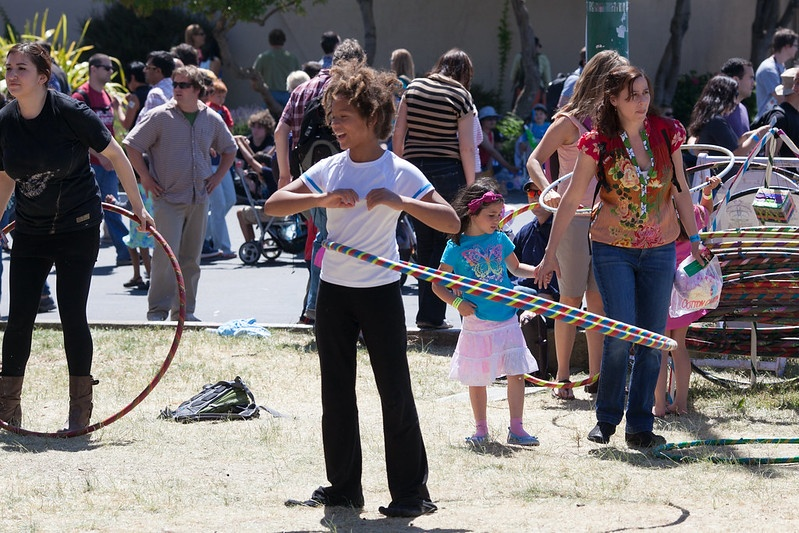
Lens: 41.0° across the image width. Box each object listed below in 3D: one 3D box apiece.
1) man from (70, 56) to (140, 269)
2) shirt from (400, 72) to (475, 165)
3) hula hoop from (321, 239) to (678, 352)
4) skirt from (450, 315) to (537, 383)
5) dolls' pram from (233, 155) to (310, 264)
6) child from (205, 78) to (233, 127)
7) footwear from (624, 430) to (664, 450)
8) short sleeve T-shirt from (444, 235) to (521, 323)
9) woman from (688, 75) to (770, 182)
[{"bbox_3d":[-3.571,-0.975,12.972,0.516,1.646,0.506,-5,-36,-28],"label":"man"},{"bbox_3d":[0.415,-1.340,10.002,0.887,0.833,0.487,13,8,41],"label":"shirt"},{"bbox_3d":[0.832,0.199,7.896,2.635,0.099,0.286,17,11,2],"label":"hula hoop"},{"bbox_3d":[0.683,0.535,8.210,0.663,0.627,0.480,-6,14,0],"label":"skirt"},{"bbox_3d":[-1.596,-0.708,14.150,1.044,1.324,0.867,1,0,5],"label":"dolls' pram"},{"bbox_3d":[-2.361,-2.113,13.816,0.351,0.247,0.742,-11,-3,3],"label":"child"},{"bbox_3d":[1.809,1.292,7.943,0.304,0.134,0.111,-3,2,11],"label":"footwear"},{"bbox_3d":[0.630,0.028,7.946,0.633,0.625,0.329,2,-4,-12],"label":"short sleeve T-shirt"},{"bbox_3d":[3.468,-1.287,10.614,0.582,0.467,1.279,-14,23,-3],"label":"woman"}]
